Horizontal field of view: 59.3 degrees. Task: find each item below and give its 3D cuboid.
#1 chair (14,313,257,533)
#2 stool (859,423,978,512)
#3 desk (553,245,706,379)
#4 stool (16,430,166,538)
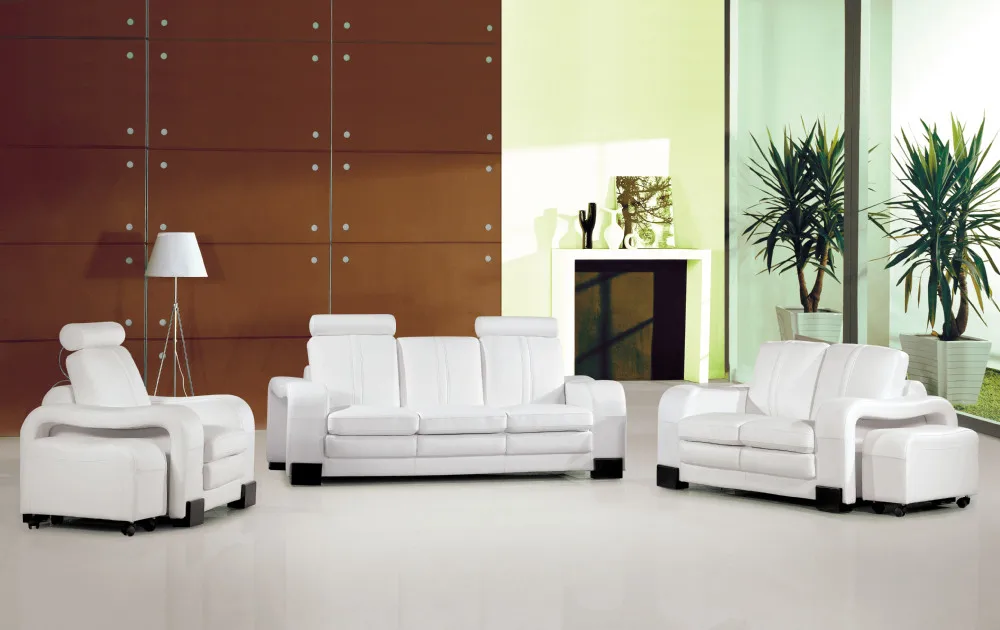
[{"bbox_3d":[-2.866,0.829,7.076,1.273,1.482,1.777,1,-1,10],"label":"chair"},{"bbox_3d":[3.336,1.194,7.011,0.822,0.615,0.460,0,0,-23],"label":"stool"},{"bbox_3d":[1.759,-0.063,12.454,1.720,1.688,0.584,0,2,-2],"label":"desk"},{"bbox_3d":[-3.043,1.217,6.495,0.850,0.609,0.516,3,-1,-2],"label":"stool"}]
